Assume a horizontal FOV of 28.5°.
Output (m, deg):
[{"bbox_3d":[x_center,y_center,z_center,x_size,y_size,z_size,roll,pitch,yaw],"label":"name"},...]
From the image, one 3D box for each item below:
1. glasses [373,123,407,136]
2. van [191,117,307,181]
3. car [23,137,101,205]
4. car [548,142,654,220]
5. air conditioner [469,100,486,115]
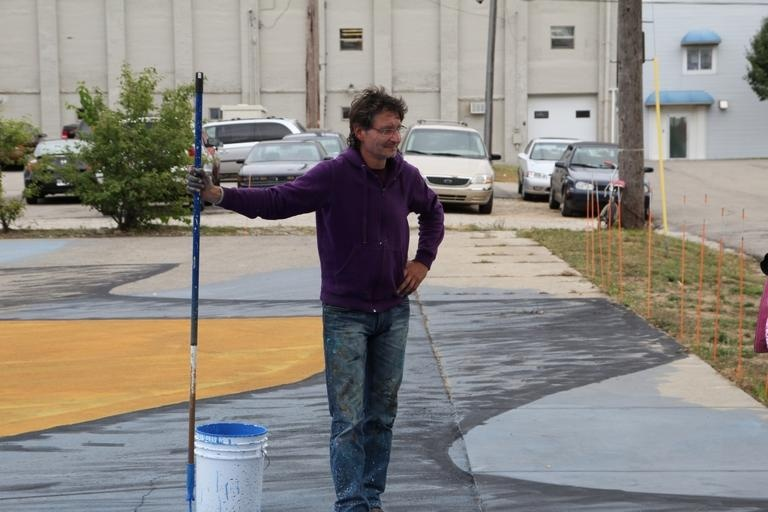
[{"bbox_3d":[0.068,-2.011,24.118,0.432,0.158,0.196,-5,9,-30],"label":"glasses"},{"bbox_3d":[-4.074,-3.222,44.365,3.416,1.433,1.730,2,6,3],"label":"van"},{"bbox_3d":[-7.711,-2.072,36.337,2.060,1.554,4.318,3,-8,-11],"label":"car"},{"bbox_3d":[5.008,-1.938,38.230,1.668,1.758,2.941,0,8,5],"label":"car"},{"bbox_3d":[3.577,-5.721,58.332,0.862,0.529,0.432,0,-2,5],"label":"air conditioner"}]
